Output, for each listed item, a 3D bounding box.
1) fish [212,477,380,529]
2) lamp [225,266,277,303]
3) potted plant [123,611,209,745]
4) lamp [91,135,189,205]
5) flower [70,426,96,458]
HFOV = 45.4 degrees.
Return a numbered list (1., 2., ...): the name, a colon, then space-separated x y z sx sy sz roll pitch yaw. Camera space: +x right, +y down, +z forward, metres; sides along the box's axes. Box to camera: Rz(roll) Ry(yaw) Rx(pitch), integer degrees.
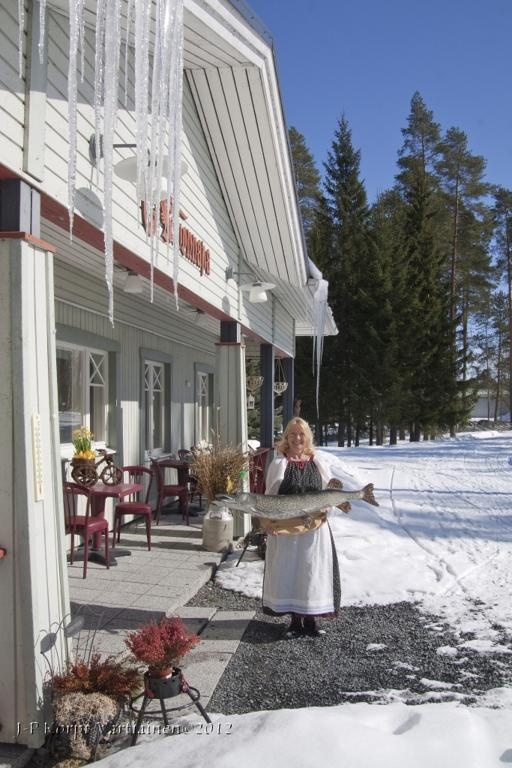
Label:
1. fish: 0.191 0.740 3.737 1.149 0.320 0.459 0 2 -32
2. lamp: -0.106 -1.316 7.901 0.621 0.495 0.477 0 -1 18
3. potted plant: -0.385 1.226 2.610 0.284 0.475 0.309 -6 0 8
4. lamp: -0.724 -1.354 3.678 0.527 0.485 0.397 -5 -12 -7
5. flower: -1.691 0.581 5.971 0.191 0.321 0.231 1 2 -16
